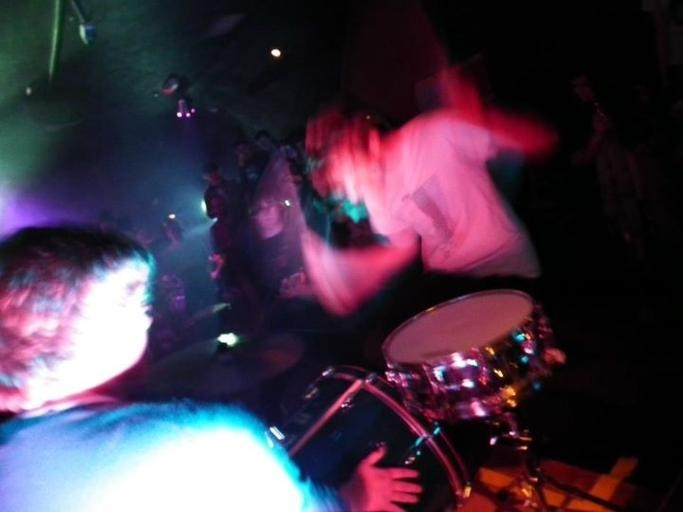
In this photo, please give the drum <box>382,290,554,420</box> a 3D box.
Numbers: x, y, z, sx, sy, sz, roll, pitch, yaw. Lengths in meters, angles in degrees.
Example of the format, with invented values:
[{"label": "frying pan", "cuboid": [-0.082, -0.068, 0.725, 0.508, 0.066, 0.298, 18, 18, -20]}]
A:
[{"label": "drum", "cuboid": [0.660, 0.495, 2.893, 0.722, 0.291, 0.688, -24, 13, 6]}]
